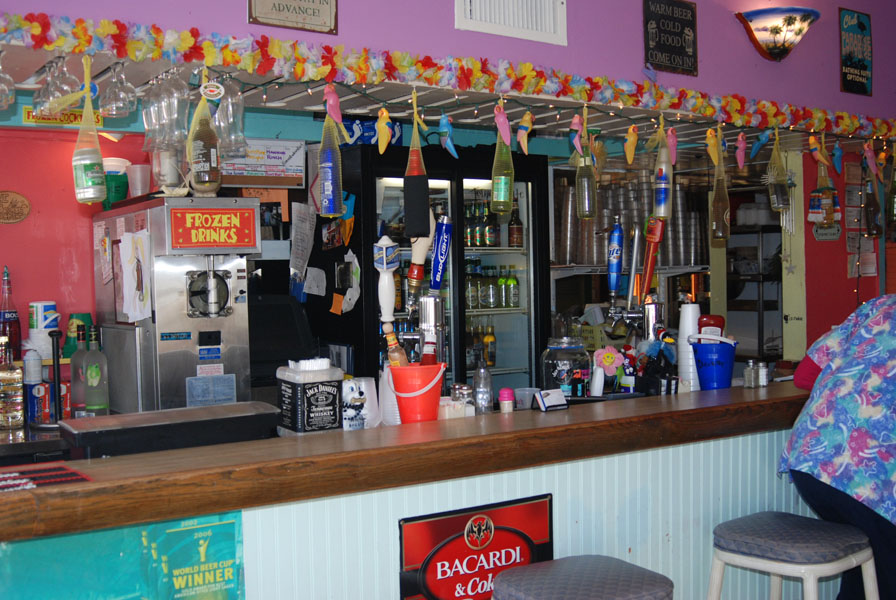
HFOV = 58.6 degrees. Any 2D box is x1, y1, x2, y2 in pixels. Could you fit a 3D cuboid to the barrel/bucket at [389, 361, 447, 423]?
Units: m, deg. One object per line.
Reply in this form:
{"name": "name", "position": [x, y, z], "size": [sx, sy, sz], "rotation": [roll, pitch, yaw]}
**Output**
{"name": "barrel/bucket", "position": [-0.144, 0.437, 3.830], "size": [0.307, 0.280, 0.294], "rotation": [-2, 4, 0]}

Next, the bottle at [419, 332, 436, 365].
{"name": "bottle", "position": [-0.098, 0.225, 3.838], "size": [0.075, 0.140, 0.186], "rotation": [-3, 4, -2]}

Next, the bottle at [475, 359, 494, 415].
{"name": "bottle", "position": [0.171, 0.431, 3.981], "size": [0.075, 0.215, 0.274], "rotation": [-2, 4, 6]}

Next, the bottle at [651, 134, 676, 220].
{"name": "bottle", "position": [1.303, -0.744, 4.800], "size": [0.133, 0.516, 0.327], "rotation": [-1, 4, 16]}

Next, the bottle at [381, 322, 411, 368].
{"name": "bottle", "position": [-0.262, 0.227, 3.848], "size": [0.085, 0.279, 0.084], "rotation": [-17, 3, 1]}

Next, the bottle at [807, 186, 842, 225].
{"name": "bottle", "position": [2.734, -0.674, 5.729], "size": [0.251, 0.254, 0.177], "rotation": [-4, 4, -16]}

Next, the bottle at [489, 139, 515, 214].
{"name": "bottle", "position": [0.291, -0.673, 4.308], "size": [0.104, 0.389, 0.283], "rotation": [-2, 4, 7]}

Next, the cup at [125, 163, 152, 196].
{"name": "cup", "position": [-1.946, -0.752, 5.015], "size": [0.139, 0.197, 0.164], "rotation": [-4, 4, -21]}

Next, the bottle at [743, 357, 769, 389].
{"name": "bottle", "position": [1.737, 0.411, 4.534], "size": [0.198, 0.206, 0.110], "rotation": [2, -2, -29]}

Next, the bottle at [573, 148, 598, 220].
{"name": "bottle", "position": [0.777, -0.658, 4.511], "size": [0.112, 0.369, 0.232], "rotation": [-2, 4, 11]}

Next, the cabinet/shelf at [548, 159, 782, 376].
{"name": "cabinet/shelf", "position": [1.654, -0.259, 6.176], "size": [1.873, 1.796, 0.621], "rotation": [-1, 3, -22]}

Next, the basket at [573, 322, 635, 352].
{"name": "basket", "position": [1.298, 0.313, 6.792], "size": [0.384, 0.247, 0.390], "rotation": [1, 1, -14]}

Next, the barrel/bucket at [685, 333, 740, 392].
{"name": "barrel/bucket", "position": [1.547, 0.364, 4.563], "size": [0.276, 0.337, 0.285], "rotation": [1, -5, 0]}
